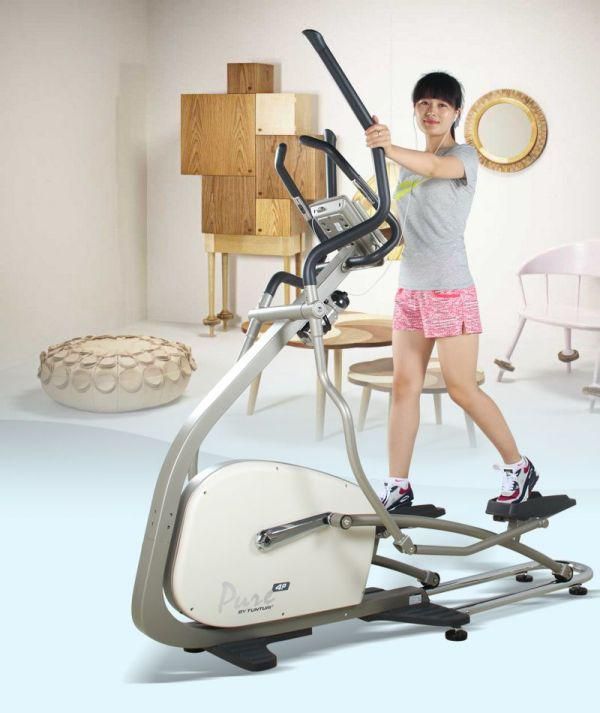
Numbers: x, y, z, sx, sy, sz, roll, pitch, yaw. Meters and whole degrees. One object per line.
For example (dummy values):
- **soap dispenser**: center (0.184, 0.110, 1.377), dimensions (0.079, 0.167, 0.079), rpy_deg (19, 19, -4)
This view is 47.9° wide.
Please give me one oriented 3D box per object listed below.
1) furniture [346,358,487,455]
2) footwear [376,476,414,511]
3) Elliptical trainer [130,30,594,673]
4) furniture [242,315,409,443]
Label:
- **furniture**: center (0.531, 0.224, 3.040), dimensions (0.590, 0.279, 0.568), rpy_deg (2, 0, 37)
- **footwear**: center (0.255, 0.360, 1.755), dimensions (0.152, 0.066, 0.052), rpy_deg (-5, -3, -27)
- **Elliptical trainer**: center (0.010, 0.252, 2.259), dimensions (1.665, 1.697, 0.720), rpy_deg (2, -4, -30)
- **furniture**: center (0.056, 0.092, 3.274), dimensions (0.789, 0.381, 0.752), rpy_deg (3, -3, -22)
